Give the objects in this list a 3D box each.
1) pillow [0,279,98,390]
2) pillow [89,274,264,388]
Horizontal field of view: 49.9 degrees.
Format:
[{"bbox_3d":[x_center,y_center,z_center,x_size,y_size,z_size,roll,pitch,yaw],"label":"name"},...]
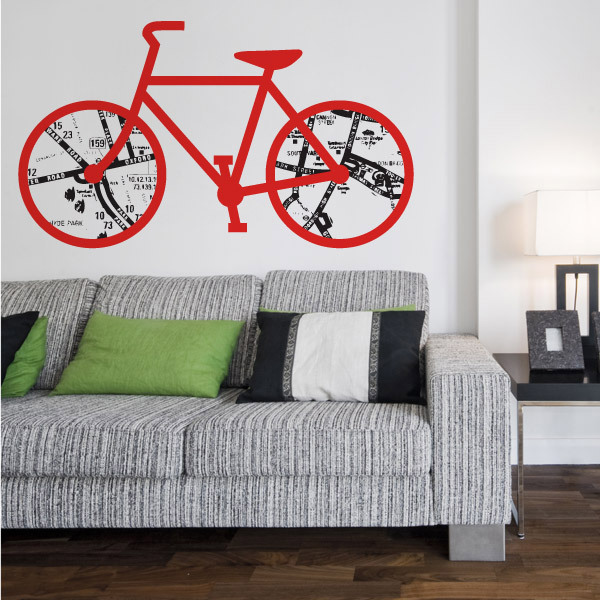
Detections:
[{"bbox_3d":[-1.044,0.147,2.768,0.448,0.413,0.171,2,-17,-2],"label":"pillow"},{"bbox_3d":[-0.484,0.137,2.696,0.663,0.467,0.186,0,-21,8],"label":"pillow"}]
